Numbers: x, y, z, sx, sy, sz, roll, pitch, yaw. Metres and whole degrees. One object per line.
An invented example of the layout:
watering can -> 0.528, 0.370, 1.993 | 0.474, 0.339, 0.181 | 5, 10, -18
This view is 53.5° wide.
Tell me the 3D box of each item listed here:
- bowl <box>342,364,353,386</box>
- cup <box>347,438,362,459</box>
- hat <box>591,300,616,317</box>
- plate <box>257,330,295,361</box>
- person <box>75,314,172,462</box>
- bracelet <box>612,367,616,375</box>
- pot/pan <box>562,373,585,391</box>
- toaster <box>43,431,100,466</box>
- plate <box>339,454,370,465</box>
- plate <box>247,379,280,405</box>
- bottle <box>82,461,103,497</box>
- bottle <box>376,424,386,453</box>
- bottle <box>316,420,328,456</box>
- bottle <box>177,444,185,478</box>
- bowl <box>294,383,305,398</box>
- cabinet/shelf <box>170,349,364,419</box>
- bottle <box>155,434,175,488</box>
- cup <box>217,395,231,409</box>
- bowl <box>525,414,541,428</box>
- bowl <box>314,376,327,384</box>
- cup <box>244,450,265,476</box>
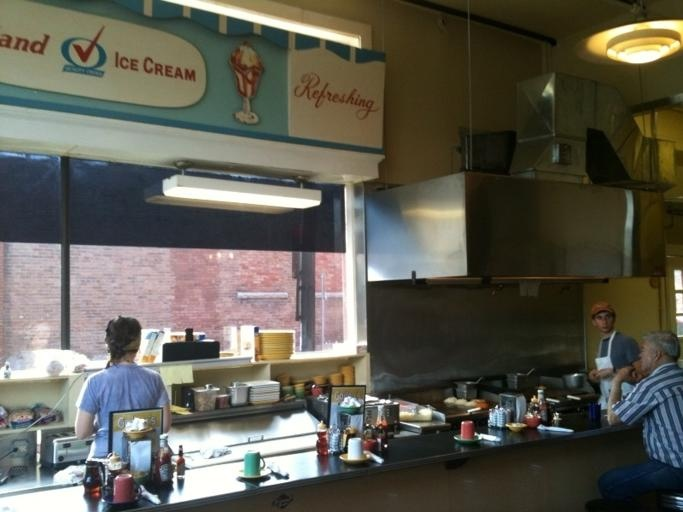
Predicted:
bowl -> 0.064, 1.153, 6.551 | 0.154, 0.170, 0.151 | 0, -1, 0
cup -> 0.090, 1.364, 4.776 | 0.121, 0.113, 0.118 | 0, -8, 0
hat -> 2.551, 0.499, 6.613 | 0.232, 0.169, 0.317 | -5, -25, 19
plate -> -0.614, 0.813, 6.178 | 0.281, 0.185, 0.273 | 1, -6, -12
person -> -1.579, 0.927, 4.907 | 0.633, 0.967, 0.203 | -1, -5, -17
bracelet -> 2.548, 1.079, 6.337 | 0.048, 0.063, 0.029 | 15, -1, -7
pot/pan -> 2.506, 1.356, 7.295 | 0.173, 0.106, 0.176 | -4, -6, 39
toaster -> -1.989, 1.516, 5.246 | 0.376, 0.207, 0.211 | -10, -19, 9
plate -> 0.091, 1.435, 4.782 | 0.211, 0.055, 0.129 | -3, -4, 3
plate -> -0.694, 1.216, 6.032 | 0.287, 0.200, 0.122 | -2, -4, -12
bottle -> -1.608, 1.437, 4.357 | 0.120, 0.221, 0.109 | -2, -4, -9
bottle -> 0.292, 1.346, 4.971 | 0.075, 0.196, 0.108 | -3, -4, 5
bottle -> -0.137, 1.347, 5.002 | 0.089, 0.220, 0.211 | -3, -4, -2
bottle -> -1.104, 1.395, 4.632 | 0.057, 0.208, 0.179 | -2, -4, -14
bowl -> -0.383, 1.242, 6.239 | 0.109, 0.100, 0.106 | 0, -3, 0
cabinet/shelf -> -1.012, 1.238, 6.962 | 0.437, 0.546, 2.451 | 15, -5, 8
bottle -> -1.184, 1.364, 4.514 | 0.108, 0.315, 0.184 | -2, -4, -10
cup -> -1.011, 1.265, 5.846 | 0.104, 0.077, 0.106 | 1, -7, 0
bowl -> 1.573, 1.360, 5.570 | 0.099, 0.090, 0.098 | 2, 1, 0
bowl -> -0.200, 1.180, 6.427 | 0.079, 0.047, 0.078 | 0, -3, 0
cup -> -0.591, 1.406, 4.623 | 0.169, 0.156, 0.104 | 7, -10, -41
